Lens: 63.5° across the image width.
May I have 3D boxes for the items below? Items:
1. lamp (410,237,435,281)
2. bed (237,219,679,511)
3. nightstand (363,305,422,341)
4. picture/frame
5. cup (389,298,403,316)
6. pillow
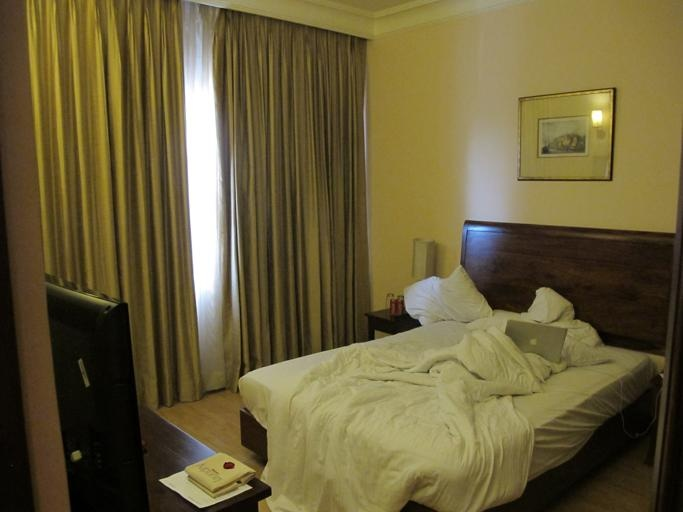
[{"bbox_3d":[0.778,0.038,4.846,0.201,0.334,0.207,2,-3,27],"label":"lamp"},{"bbox_3d":[1.041,0.446,3.347,1.854,1.332,1.998,10,18,41],"label":"bed"},{"bbox_3d":[0.479,0.549,4.858,0.262,0.359,0.339,-16,21,-42],"label":"nightstand"},{"bbox_3d":[1.647,-0.897,3.980,0.686,0.639,0.048,5,8,41],"label":"picture/frame"},{"bbox_3d":[0.488,0.452,4.887,0.100,0.159,0.080,14,18,41],"label":"cup"},{"bbox_3d":[0.811,0.249,4.470,0.555,0.560,0.166,-3,8,-12],"label":"pillow"}]
